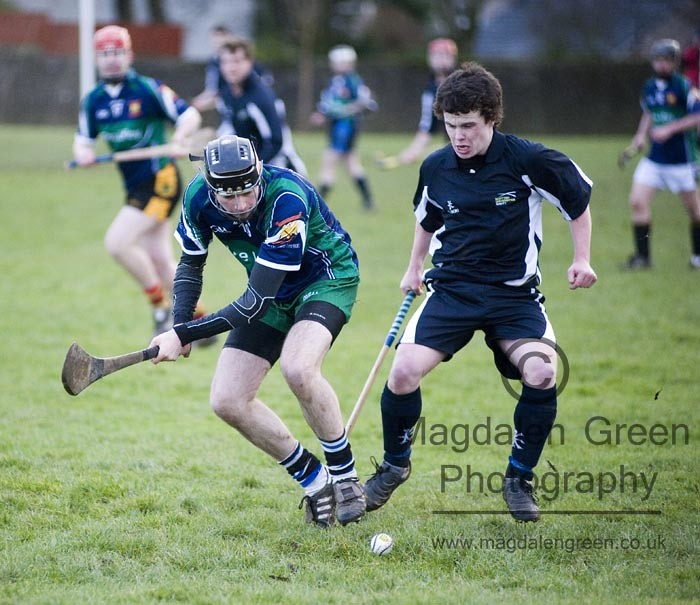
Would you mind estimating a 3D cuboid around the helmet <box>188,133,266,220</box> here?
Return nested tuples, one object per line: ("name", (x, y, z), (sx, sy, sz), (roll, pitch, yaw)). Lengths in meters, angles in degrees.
("helmet", (-0.629, -0.656, 5.617), (0.314, 0.429, 0.257), (0, 12, -5))

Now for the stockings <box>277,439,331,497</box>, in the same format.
("stockings", (-0.273, 0.947, 6.000), (0.197, 0.265, 0.180), (-45, 3, -28))

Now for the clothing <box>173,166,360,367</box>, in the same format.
("clothing", (-0.551, -0.276, 5.912), (0.740, 0.811, 1.103), (11, 25, 43))

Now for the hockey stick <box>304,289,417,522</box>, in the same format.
("hockey stick", (0.051, 0.660, 6.331), (0.280, 1.276, 0.294), (23, -8, 31))

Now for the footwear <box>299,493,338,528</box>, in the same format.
("footwear", (-0.185, 1.170, 5.900), (0.134, 0.094, 0.264), (29, 41, -12))

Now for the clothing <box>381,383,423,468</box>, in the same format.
("clothing", (0.272, 0.700, 6.002), (0.214, 0.543, 0.205), (7, 20, 11))

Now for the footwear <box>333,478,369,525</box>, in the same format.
("footwear", (-0.003, 1.096, 5.876), (0.120, 0.112, 0.282), (-13, 50, 9))

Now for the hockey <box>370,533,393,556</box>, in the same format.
("hockey", (0.164, 1.271, 5.594), (0.116, 0.097, 0.088), (1, 13, 1))

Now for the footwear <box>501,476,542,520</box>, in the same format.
("footwear", (0.960, 1.077, 6.066), (0.173, 0.220, 0.511), (-1, 12, 11))
